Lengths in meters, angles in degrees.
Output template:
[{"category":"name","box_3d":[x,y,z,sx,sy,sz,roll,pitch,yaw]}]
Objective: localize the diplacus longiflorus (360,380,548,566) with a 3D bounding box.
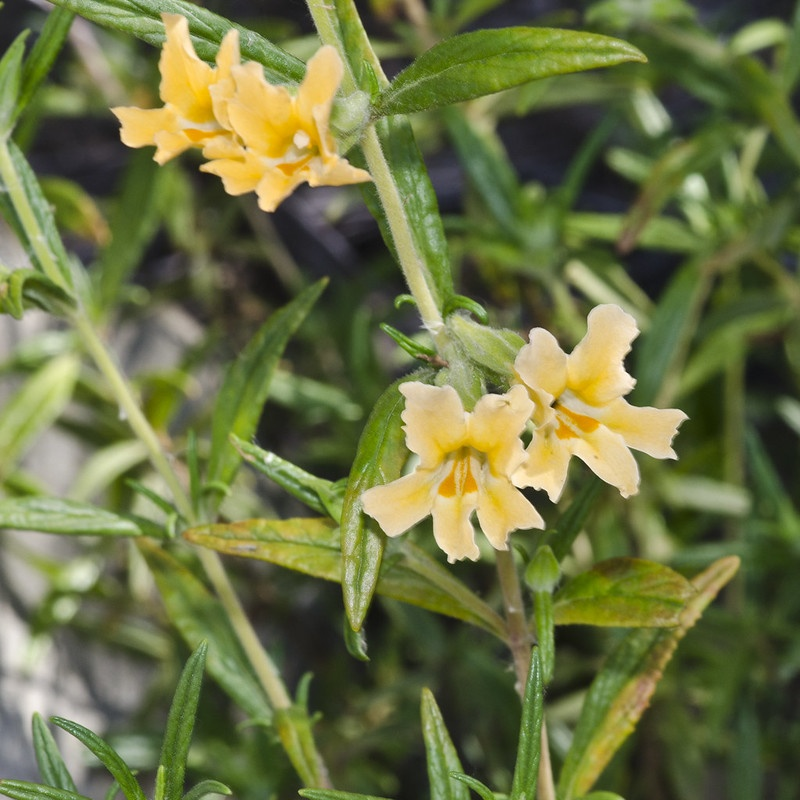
[{"category":"diplacus longiflorus","box_3d":[0.035,0.058,0.718,0.119,0.080,0.136,3,-60,-3]}]

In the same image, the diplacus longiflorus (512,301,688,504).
[{"category":"diplacus longiflorus","box_3d":[0.133,0.002,0.728,0.124,0.113,0.121,-8,-61,3]}]

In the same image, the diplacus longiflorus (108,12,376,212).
[{"category":"diplacus longiflorus","box_3d":[-0.104,-0.193,0.744,0.169,0.143,0.062,-22,-30,-34]}]
